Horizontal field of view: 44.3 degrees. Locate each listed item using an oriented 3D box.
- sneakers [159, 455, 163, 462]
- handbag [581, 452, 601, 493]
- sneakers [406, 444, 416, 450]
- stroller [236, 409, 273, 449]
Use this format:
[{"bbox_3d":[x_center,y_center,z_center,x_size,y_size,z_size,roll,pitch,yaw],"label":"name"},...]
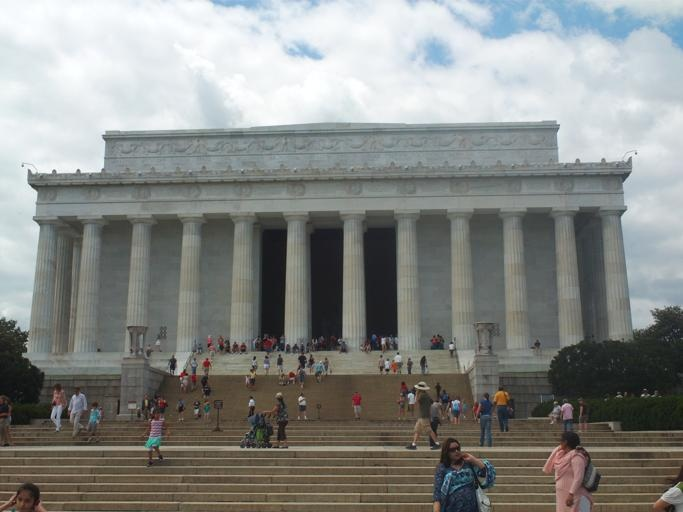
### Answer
[{"bbox_3d":[-5.173,5.819,23.907,0.096,0.150,0.156,0,-37,-6],"label":"sneakers"},{"bbox_3d":[5.069,4.455,17.092,0.328,0.840,0.652,-6,-11,19],"label":"handbag"},{"bbox_3d":[2.100,5.851,25.508,0.317,0.122,0.114,-6,-13,44],"label":"sneakers"},{"bbox_3d":[-2.656,5.451,26.059,0.916,1.081,1.032,-1,-11,-7],"label":"stroller"}]
